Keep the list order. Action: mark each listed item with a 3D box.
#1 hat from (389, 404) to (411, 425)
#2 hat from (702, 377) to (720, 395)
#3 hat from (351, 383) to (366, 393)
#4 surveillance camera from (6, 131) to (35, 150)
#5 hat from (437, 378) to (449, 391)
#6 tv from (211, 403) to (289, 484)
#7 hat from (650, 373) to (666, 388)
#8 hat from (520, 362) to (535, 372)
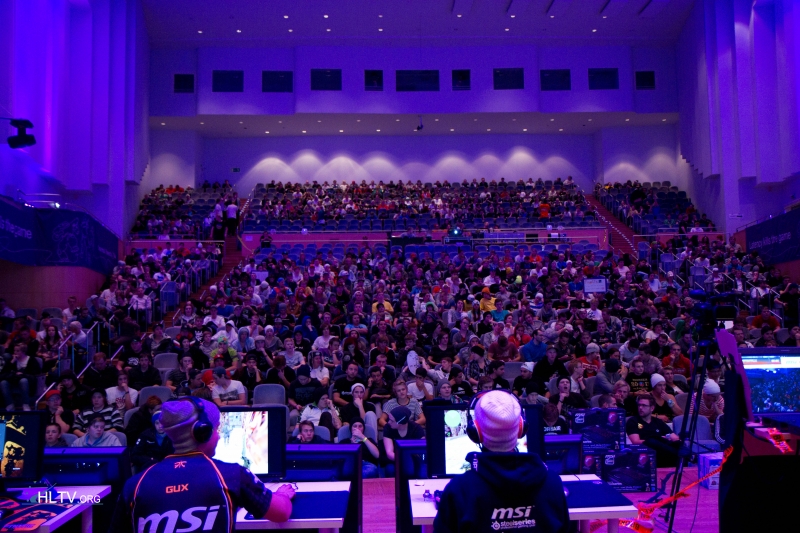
[{"bbox_3d":[0.025,2.061,10.449,0.286,0.239,0.430,0,-10,-15],"label":"hat"},{"bbox_3d":[4.589,1.769,11.000,0.214,0.243,0.567,-7,-11,28],"label":"hat"},{"bbox_3d":[-0.637,1.828,11.311,0.161,0.130,0.348,-1,-10,-10],"label":"hat"},{"bbox_3d":[-8.389,-2.807,16.468,0.491,0.364,0.496,3,-11,-29],"label":"surveillance camera"},{"bbox_3d":[0.652,1.772,11.212,0.166,0.182,0.232,2,-16,-6],"label":"hat"},{"bbox_3d":[-1.530,1.779,7.774,0.897,0.839,0.479,-8,-6,32],"label":"tv"},{"bbox_3d":[3.847,1.687,11.078,0.176,0.222,0.231,14,1,-28],"label":"hat"},{"bbox_3d":[2.104,1.651,12.303,0.172,0.185,0.233,-3,-30,46],"label":"hat"}]
